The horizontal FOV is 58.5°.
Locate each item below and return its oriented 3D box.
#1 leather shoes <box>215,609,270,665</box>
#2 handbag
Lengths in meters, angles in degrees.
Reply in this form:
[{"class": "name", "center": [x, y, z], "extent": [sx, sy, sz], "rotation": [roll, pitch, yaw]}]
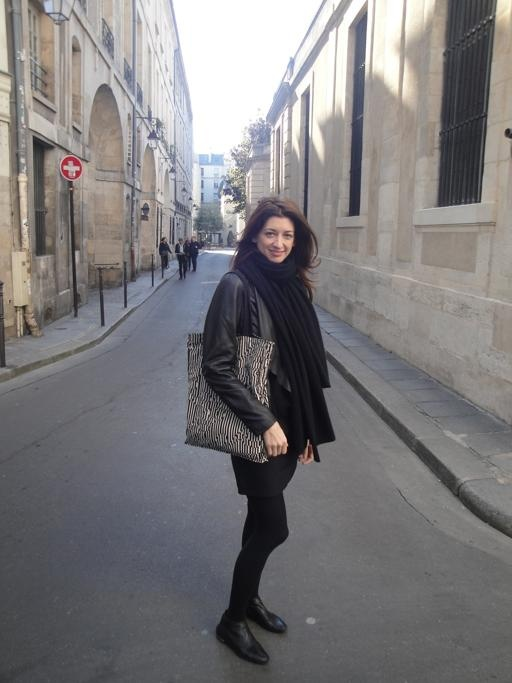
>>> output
[{"class": "leather shoes", "center": [-0.045, 1.031, 1.614], "extent": [0.077, 0.143, 0.226], "rotation": [-4, 14, -35]}, {"class": "handbag", "center": [-0.113, 0.166, 1.393], "extent": [0.216, 0.429, 0.073], "rotation": [7, 22, 8]}]
